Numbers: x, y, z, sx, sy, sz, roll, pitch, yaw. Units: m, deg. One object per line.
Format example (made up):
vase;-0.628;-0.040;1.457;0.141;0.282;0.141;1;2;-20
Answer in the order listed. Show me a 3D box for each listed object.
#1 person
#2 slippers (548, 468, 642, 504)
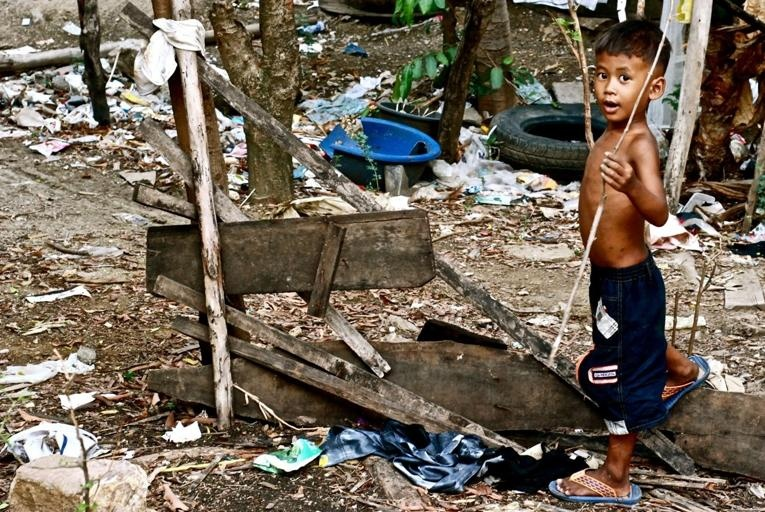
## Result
person;1.533;0.065;5.549;0.830;2.991;0.758;3;17;17
slippers;1.335;1.442;5.722;0.596;0.127;0.209;3;15;6
